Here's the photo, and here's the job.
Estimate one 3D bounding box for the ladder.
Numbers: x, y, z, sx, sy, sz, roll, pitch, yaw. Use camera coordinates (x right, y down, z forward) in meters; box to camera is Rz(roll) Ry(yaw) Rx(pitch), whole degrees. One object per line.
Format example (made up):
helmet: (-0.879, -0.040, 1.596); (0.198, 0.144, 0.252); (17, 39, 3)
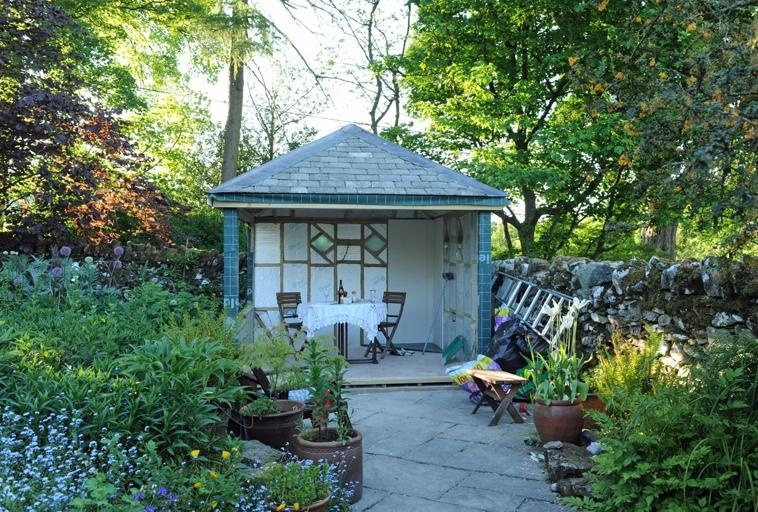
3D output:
ladder: (2.624, 0.841, 10.519); (0.987, 0.905, 1.093); (-2, 13, -3)

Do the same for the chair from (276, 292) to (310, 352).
chair: (-1.453, 1.099, 10.077); (0.436, 1.005, 0.545); (10, 11, 33)

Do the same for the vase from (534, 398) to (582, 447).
vase: (2.186, 2.082, 7.521); (0.654, 0.636, 0.680); (0, -3, 26)

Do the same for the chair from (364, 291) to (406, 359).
chair: (0.194, 1.365, 12.098); (0.659, 1.315, 0.754); (-2, -4, 37)

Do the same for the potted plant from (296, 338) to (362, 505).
potted plant: (-0.505, 1.786, 6.552); (0.735, 1.663, 0.756); (-1, 4, -1)

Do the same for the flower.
flower: (2.299, 1.287, 8.083); (1.369, 1.824, 1.020); (-2, 9, -1)

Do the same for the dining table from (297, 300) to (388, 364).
dining table: (-0.684, 1.280, 11.204); (1.337, 1.050, 1.868); (3, 5, -4)
